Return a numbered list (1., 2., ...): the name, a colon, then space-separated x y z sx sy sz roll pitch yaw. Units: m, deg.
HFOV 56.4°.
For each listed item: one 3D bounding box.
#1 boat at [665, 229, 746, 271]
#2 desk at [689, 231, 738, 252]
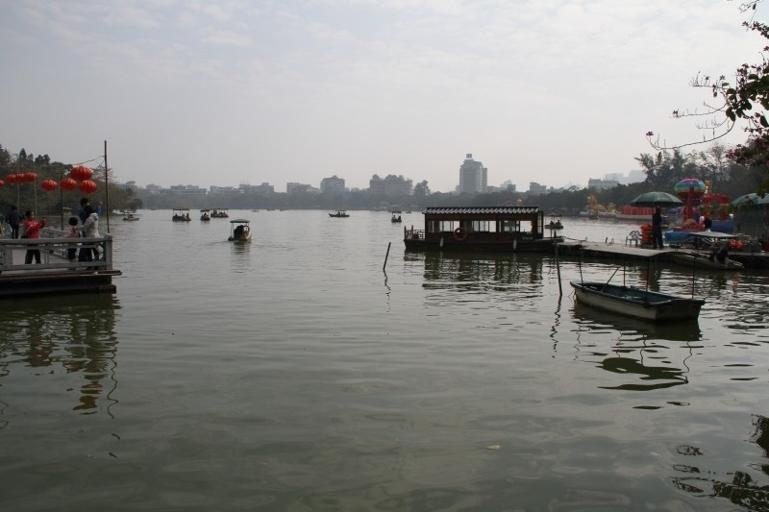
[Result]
1. boat: 20.326 -0.335 45.295 3.944 1.974 10.341 3 8 20
2. desk: 21.927 -0.742 47.243 2.826 0.908 2.053 0 4 8
